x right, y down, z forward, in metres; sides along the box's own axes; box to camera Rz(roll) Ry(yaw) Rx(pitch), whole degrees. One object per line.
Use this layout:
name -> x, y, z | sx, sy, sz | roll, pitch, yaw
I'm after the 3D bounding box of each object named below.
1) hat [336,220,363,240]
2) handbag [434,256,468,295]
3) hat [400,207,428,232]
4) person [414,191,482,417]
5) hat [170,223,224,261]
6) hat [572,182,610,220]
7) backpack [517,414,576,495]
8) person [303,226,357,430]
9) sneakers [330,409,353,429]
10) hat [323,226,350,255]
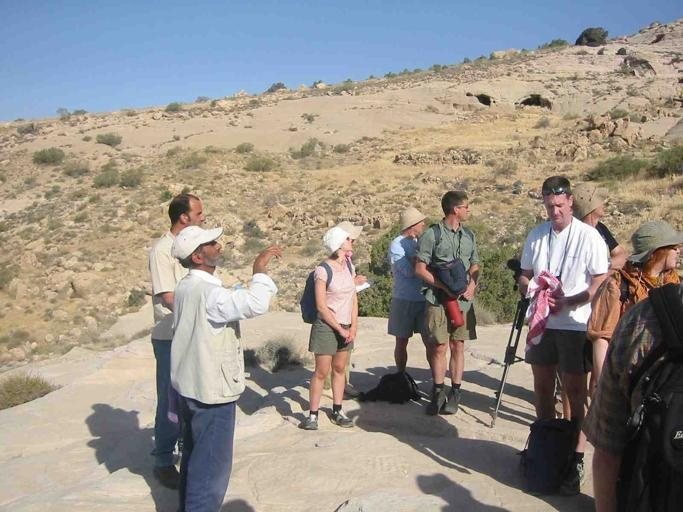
hat -> 0.156, -0.344, 8.431 | 0.363, 0.132, 0.233 | -6, 17, -32
handbag -> 1.454, 0.288, 8.316 | 0.394, 0.469, 0.258 | -16, -1, 9
hat -> 1.021, -0.546, 9.290 | 0.345, 0.177, 0.325 | -38, 12, -24
person -> 1.431, 0.631, 8.540 | 0.702, 2.962, 0.976 | 6, 15, 33
hat -> -1.491, -0.120, 6.488 | 0.486, 0.177, 0.306 | -28, 34, 0
hat -> 3.171, -0.690, 7.922 | 0.192, 0.432, 0.463 | 24, -14, -28
backpack -> 2.336, 2.230, 6.919 | 0.420, 0.813, 0.562 | 27, -23, -36
person -> -0.216, 0.970, 8.380 | 0.820, 2.697, 0.711 | -2, 12, 0
sneakers -> -0.013, 2.196, 8.473 | 0.140, 0.161, 0.383 | -3, -3, -36
hat -> -0.081, -0.209, 8.266 | 0.352, 0.350, 0.250 | -2, 12, 2
